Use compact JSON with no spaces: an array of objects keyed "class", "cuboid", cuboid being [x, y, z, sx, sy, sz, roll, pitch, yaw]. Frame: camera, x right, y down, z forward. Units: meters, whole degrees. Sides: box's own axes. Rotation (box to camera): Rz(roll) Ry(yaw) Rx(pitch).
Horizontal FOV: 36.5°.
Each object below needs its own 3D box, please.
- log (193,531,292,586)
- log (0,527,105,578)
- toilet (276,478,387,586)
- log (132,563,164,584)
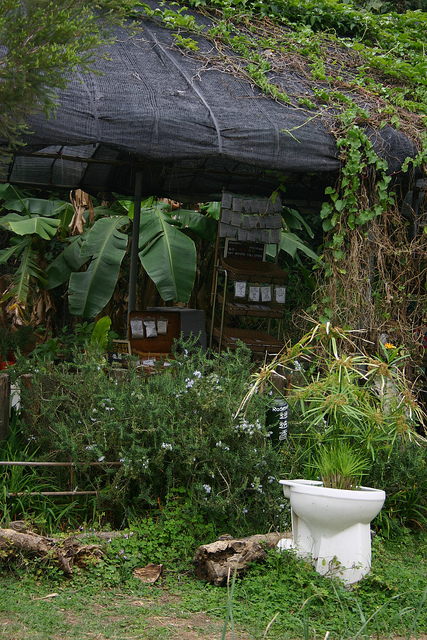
[{"class":"log","cuboid":[0.129,1.195,3.309,0.244,0.234,0.519,2,-1,42]},{"class":"log","cuboid":[-0.779,1.111,3.150,0.359,0.089,0.225,14,26,5]},{"class":"toilet","cuboid":[0.580,1.060,3.260,0.521,0.455,0.345,2,-1,11]},{"class":"log","cuboid":[-0.330,1.253,3.188,0.130,0.083,0.106,2,-1,12]}]
